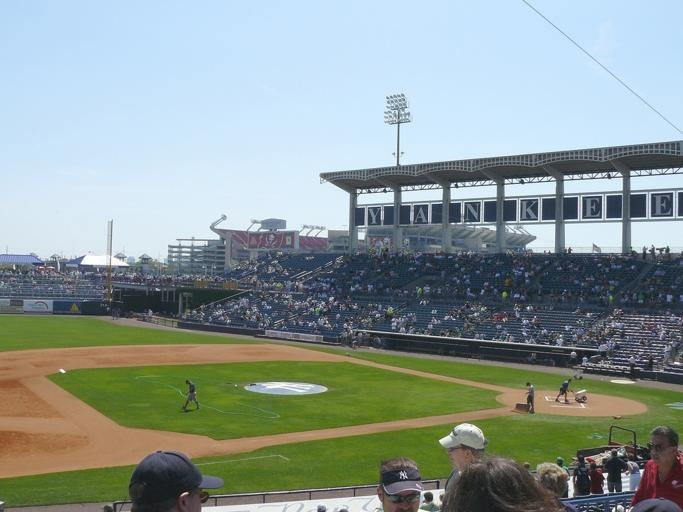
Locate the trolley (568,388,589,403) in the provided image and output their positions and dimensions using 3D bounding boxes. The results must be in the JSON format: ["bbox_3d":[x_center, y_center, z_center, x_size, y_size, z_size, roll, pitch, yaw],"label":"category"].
[{"bbox_3d":[16.927,10.030,89.860,1.064,0.757,0.938,-1,1,-24],"label":"trolley"}]
